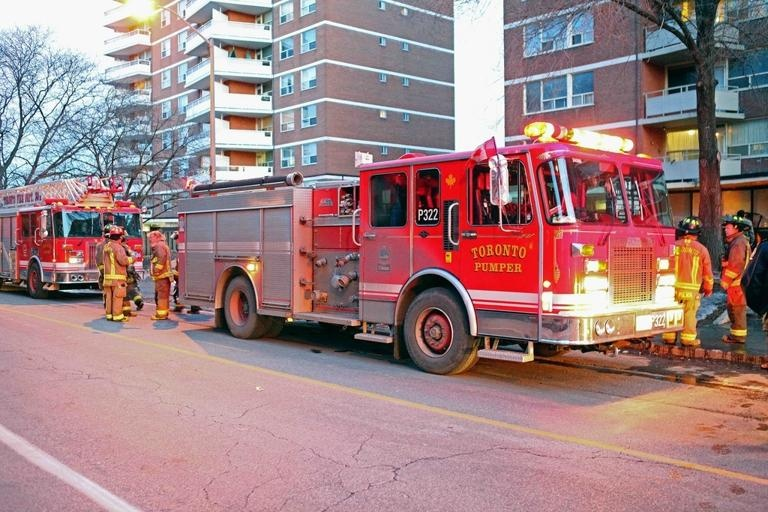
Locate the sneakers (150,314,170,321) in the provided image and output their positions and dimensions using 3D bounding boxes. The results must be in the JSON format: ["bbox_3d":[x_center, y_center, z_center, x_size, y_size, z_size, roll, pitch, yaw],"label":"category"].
[{"bbox_3d":[-5.783,1.555,15.866,0.412,0.196,0.181,6,5,26],"label":"sneakers"}]

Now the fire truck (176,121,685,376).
[{"bbox_3d":[-0.031,-0.198,12.434,10.780,4.113,3.010,4,7,37],"label":"fire truck"}]

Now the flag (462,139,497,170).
[{"bbox_3d":[1.575,-1.657,9.619,0.293,0.411,0.637,-2,6,-13],"label":"flag"}]
